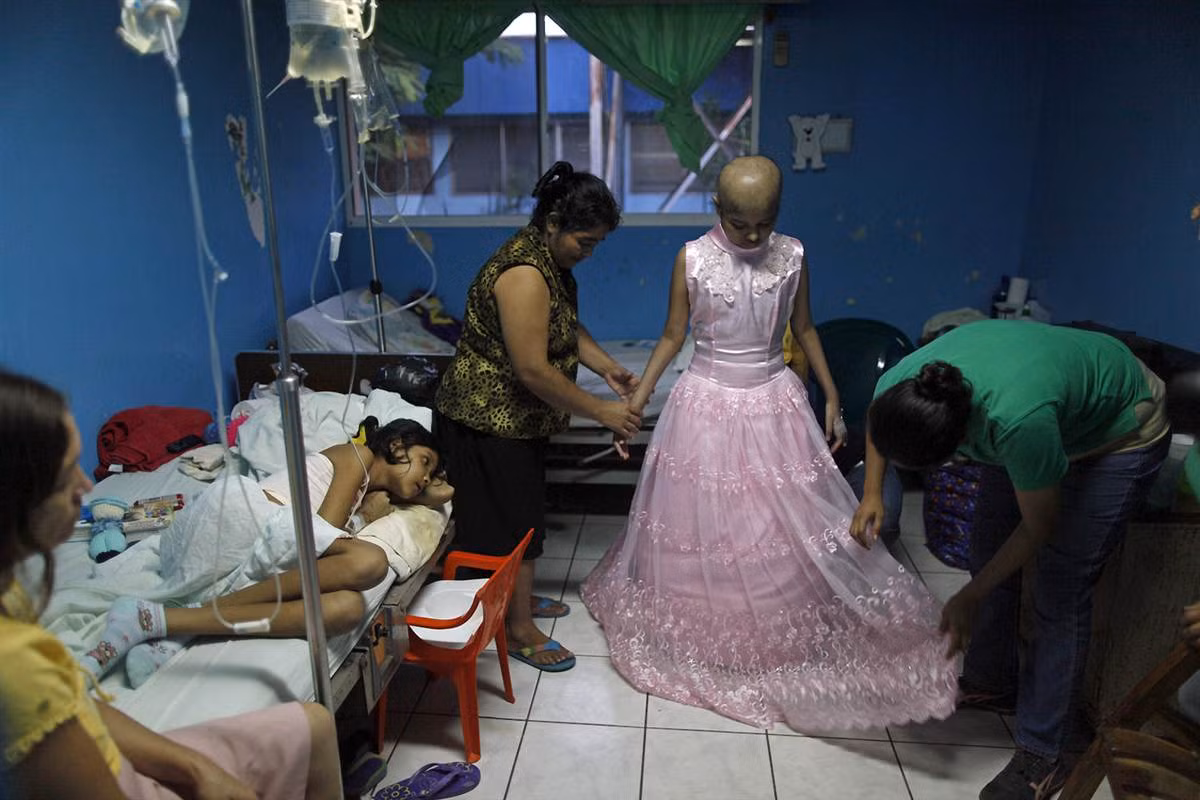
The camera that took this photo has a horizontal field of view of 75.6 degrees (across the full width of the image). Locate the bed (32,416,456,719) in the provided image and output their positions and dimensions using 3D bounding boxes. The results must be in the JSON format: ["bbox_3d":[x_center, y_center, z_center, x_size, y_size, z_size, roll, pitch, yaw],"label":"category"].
[{"bbox_3d":[-1.097,0.338,2.573,1.221,0.408,0.943,-10,22,2],"label":"bed"}]

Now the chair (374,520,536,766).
[{"bbox_3d":[-0.564,0.904,2.596,0.501,0.580,0.500,-16,-19,41],"label":"chair"}]
